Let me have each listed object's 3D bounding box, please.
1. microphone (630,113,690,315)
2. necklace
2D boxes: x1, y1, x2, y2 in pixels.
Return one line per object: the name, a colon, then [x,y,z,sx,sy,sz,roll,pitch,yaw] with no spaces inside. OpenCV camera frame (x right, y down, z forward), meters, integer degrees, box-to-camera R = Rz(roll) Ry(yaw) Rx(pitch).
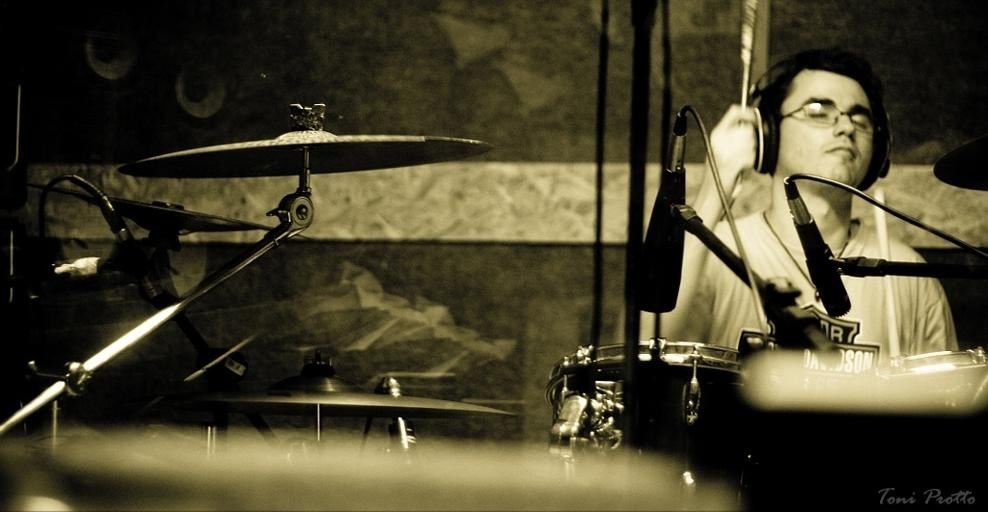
microphone: [0.634,-0.160,5.865,0.138,0.755,0.151,8,1,30]
necklace: [1.166,-0.013,6.248,0.418,0.355,0.130,23,47,26]
